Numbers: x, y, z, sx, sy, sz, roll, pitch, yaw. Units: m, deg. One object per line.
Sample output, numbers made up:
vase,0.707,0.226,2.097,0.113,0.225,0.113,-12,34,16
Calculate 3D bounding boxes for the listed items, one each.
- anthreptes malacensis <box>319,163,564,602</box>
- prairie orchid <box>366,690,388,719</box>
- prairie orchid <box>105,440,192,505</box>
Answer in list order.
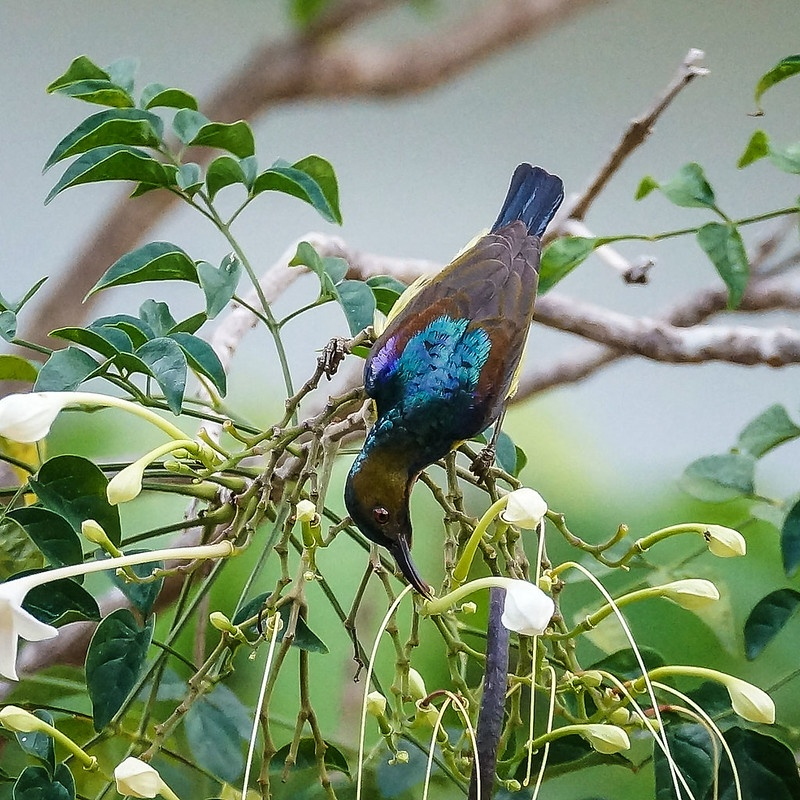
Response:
anthreptes malacensis,0.089,-0.032,1.327,0.172,0.468,0.143,26,-4,-36
prairie orchid,-0.015,0.254,0.973,0.013,0.020,0.034,10,-27,19
prairie orchid,-0.219,0.051,0.993,0.068,0.059,0.061,-4,11,-15
